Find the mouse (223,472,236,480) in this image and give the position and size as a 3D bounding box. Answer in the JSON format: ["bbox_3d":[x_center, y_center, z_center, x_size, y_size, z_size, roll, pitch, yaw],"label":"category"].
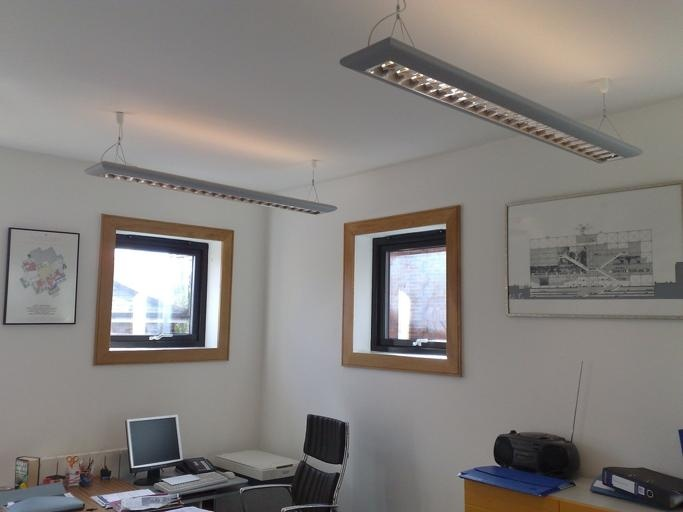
[{"bbox_3d":[-0.981,1.944,4.494,0.074,0.031,0.086,5,-4,37],"label":"mouse"}]

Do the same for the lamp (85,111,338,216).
[{"bbox_3d":[-1.100,-0.655,4.639,2.180,0.487,1.630,5,-8,-27],"label":"lamp"}]

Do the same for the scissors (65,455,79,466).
[{"bbox_3d":[-2.334,1.765,4.405,0.076,0.072,0.011,13,-26,-41],"label":"scissors"}]

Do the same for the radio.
[{"bbox_3d":[1.318,1.333,3.447,0.498,0.248,0.260,-3,-9,45],"label":"radio"}]

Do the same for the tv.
[{"bbox_3d":[-1.677,1.734,4.530,0.446,0.502,0.245,12,-35,-41],"label":"tv"}]

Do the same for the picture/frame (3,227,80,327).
[{"bbox_3d":[-2.614,0.178,4.443,0.537,0.815,0.067,6,-7,-39],"label":"picture/frame"}]
